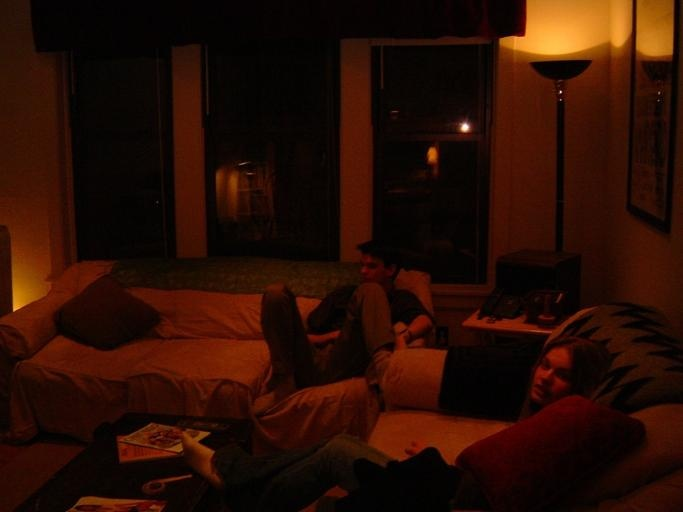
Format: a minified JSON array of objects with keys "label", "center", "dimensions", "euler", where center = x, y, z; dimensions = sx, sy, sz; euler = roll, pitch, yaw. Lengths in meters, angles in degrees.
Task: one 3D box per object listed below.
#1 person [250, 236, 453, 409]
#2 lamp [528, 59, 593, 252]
[{"label":"person","center":[0.091,0.371,3.513],"dimensions":[0.866,0.784,1.212],"euler":[-7,52,26]},{"label":"lamp","center":[1.471,-0.666,4.012],"dimensions":[0.341,1.302,0.548],"euler":[1,11,21]}]
